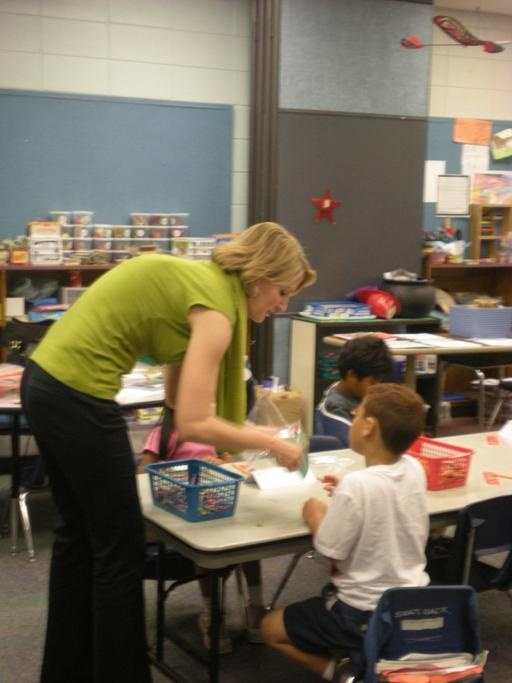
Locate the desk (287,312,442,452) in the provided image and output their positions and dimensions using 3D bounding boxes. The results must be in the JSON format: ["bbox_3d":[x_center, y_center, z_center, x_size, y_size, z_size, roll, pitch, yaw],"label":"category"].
[{"bbox_3d":[0.750,0.174,5.377,0.836,0.715,0.453,0,8,-25],"label":"desk"}]

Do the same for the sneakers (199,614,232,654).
[{"bbox_3d":[-0.145,1.032,2.274,0.095,0.103,0.260,1,6,-4],"label":"sneakers"}]
